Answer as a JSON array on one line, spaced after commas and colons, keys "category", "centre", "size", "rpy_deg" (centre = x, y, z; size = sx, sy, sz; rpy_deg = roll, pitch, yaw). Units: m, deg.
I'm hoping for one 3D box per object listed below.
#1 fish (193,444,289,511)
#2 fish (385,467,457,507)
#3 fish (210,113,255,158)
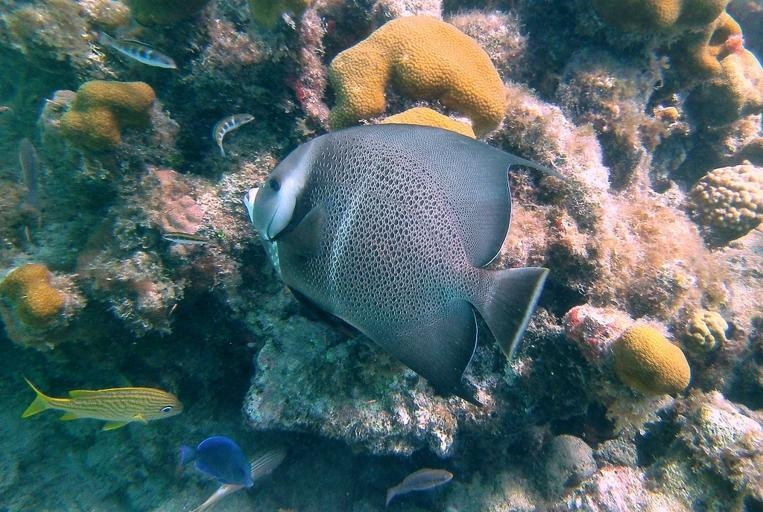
[{"category": "fish", "centre": [-1.386, 2.180, 7.110], "size": [0.964, 0.161, 0.390], "rpy_deg": [-30, -31, -7]}, {"category": "fish", "centre": [0.413, 2.198, 6.875], "size": [0.746, 0.317, 0.127], "rpy_deg": [-20, 13, 10]}, {"category": "fish", "centre": [-1.353, -1.141, 6.463], "size": [0.329, 0.329, 0.137], "rpy_deg": [-18, 13, 17]}]
